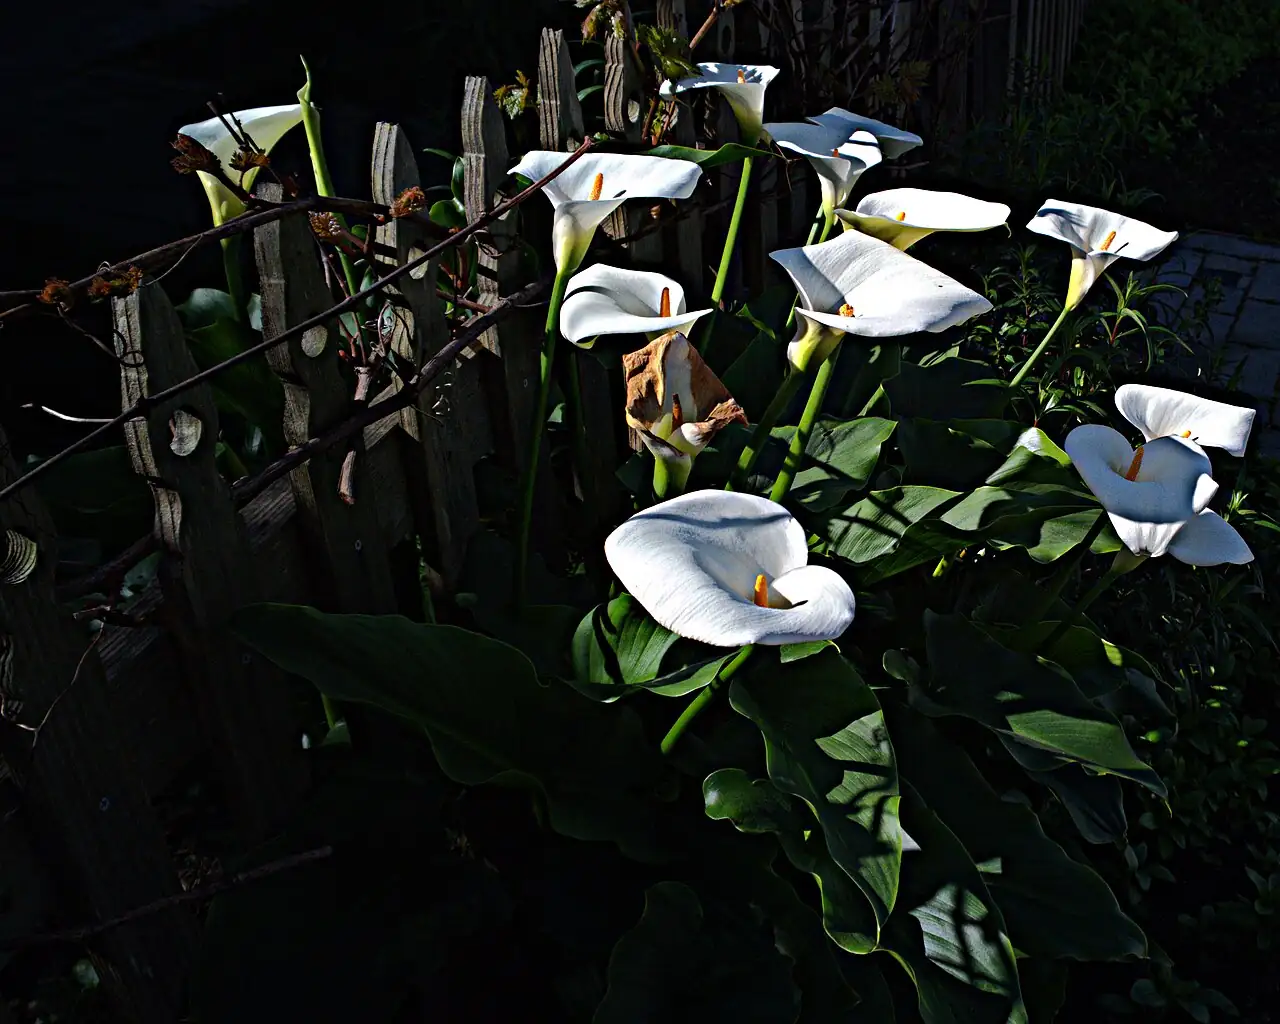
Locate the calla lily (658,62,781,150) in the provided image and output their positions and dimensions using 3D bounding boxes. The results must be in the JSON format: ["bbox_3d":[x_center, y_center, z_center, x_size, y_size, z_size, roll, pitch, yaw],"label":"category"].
[{"bbox_3d":[0.214,-1.037,2.453,0.290,0.186,0.288,19,36,18],"label":"calla lily"}]

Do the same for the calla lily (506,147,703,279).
[{"bbox_3d":[-0.059,-0.587,1.966,0.335,0.183,0.449,-13,18,-37],"label":"calla lily"}]

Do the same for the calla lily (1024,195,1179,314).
[{"bbox_3d":[1.077,-0.648,2.322,0.320,0.243,0.288,11,24,31],"label":"calla lily"}]

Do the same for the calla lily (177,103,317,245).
[{"bbox_3d":[-0.791,-0.723,2.025,0.200,0.159,0.364,-17,27,2],"label":"calla lily"}]

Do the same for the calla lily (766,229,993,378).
[{"bbox_3d":[0.359,-0.401,1.942,0.320,0.194,0.579,15,8,5],"label":"calla lily"}]
